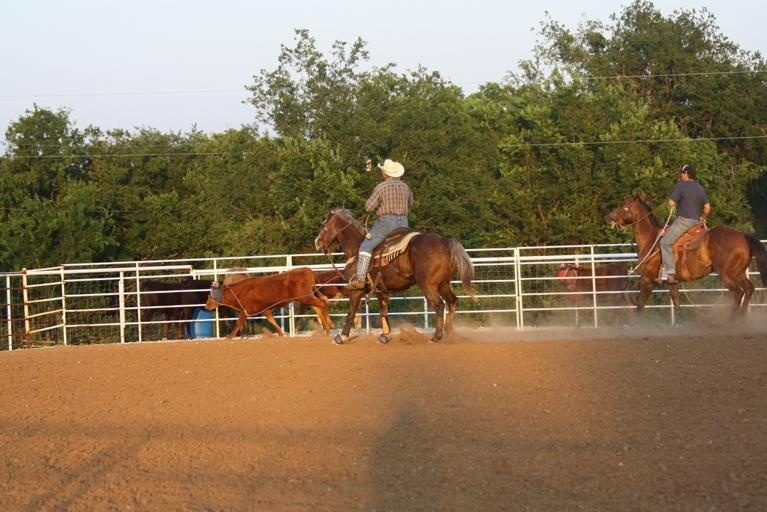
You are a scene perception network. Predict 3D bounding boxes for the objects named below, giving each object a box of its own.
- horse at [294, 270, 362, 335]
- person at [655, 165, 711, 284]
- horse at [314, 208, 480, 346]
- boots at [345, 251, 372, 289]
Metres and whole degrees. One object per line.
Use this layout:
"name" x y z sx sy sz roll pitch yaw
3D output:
"horse" -1.744 1.303 38.655 2.403 2.385 1.164 0 -7 24
"person" 9.827 -1.166 36.639 1.479 3.851 1.100 5 3 -24
"horse" 0.287 0.525 35.836 5.448 4.553 1.848 1 2 17
"boots" -0.759 0.250 35.517 0.736 1.200 0.577 21 18 24
